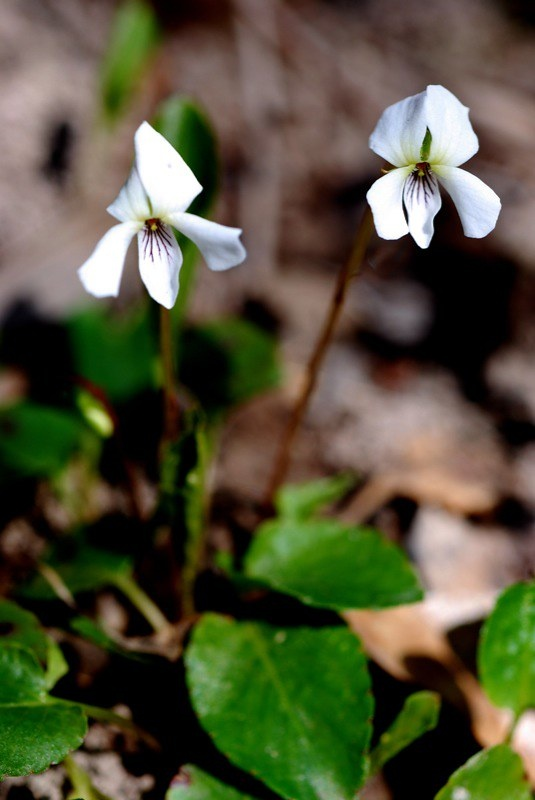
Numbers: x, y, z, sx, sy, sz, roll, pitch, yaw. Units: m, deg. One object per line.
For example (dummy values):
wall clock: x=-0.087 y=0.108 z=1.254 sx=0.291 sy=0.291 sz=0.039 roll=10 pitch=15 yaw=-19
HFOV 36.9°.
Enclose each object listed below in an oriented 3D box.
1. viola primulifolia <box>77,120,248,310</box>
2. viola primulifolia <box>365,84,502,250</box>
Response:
viola primulifolia: x=-0.178 y=-0.280 z=1.252 sx=0.305 sy=0.294 sz=0.166 roll=-6 pitch=17 yaw=-8
viola primulifolia: x=0.261 y=-0.378 z=1.291 sx=0.247 sy=0.267 sz=0.106 roll=3 pitch=18 yaw=10
